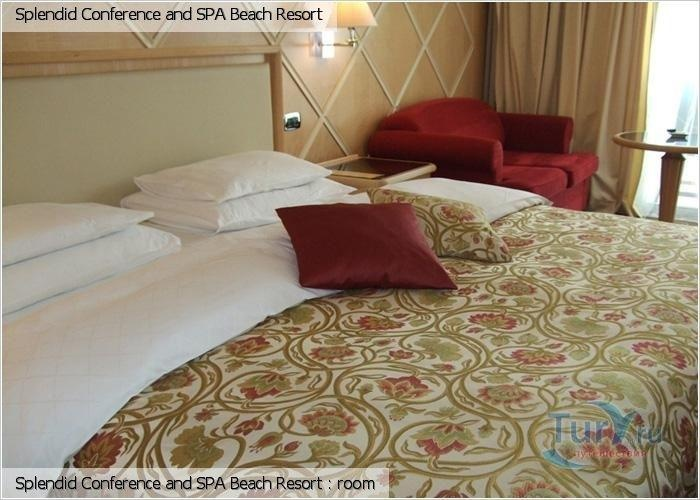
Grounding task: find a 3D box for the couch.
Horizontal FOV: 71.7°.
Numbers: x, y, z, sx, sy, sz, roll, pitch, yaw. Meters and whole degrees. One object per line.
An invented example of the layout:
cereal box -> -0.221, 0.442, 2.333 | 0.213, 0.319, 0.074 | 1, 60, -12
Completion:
couch -> 1.064, -0.826, 3.800 | 1.395, 0.834, 1.618 | 19, 34, 32
